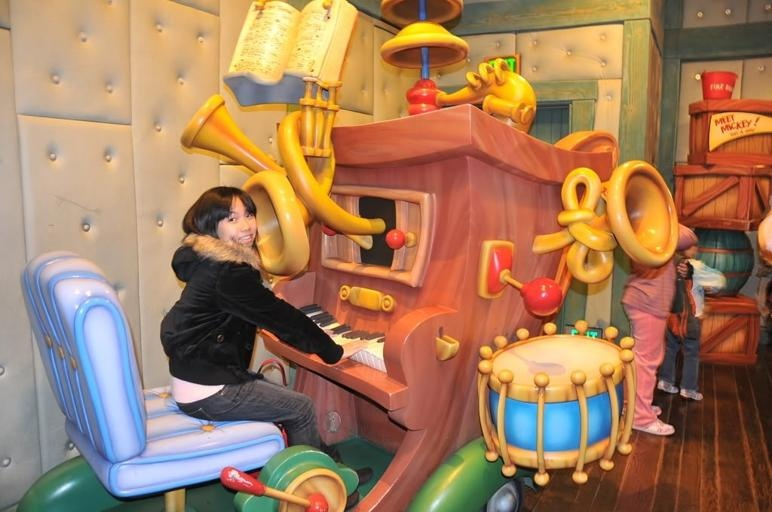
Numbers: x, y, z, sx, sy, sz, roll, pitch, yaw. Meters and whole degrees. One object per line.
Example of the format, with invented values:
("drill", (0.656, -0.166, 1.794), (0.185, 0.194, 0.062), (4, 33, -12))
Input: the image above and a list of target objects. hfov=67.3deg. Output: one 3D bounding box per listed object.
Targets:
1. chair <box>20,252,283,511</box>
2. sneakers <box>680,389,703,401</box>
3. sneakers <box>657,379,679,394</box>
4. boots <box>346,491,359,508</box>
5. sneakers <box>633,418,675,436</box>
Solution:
("chair", (-1.098, 0.480, 2.950), (1.042, 1.477, 1.033), (-7, 11, -32))
("sneakers", (2.277, 1.039, 4.354), (0.147, 0.078, 0.073), (-2, 10, 3))
("sneakers", (2.164, 1.017, 4.486), (0.154, 0.116, 0.067), (-1, 7, 5))
("boots", (-0.157, 1.168, 2.754), (0.046, 0.063, 0.069), (10, 38, -6))
("sneakers", (1.807, 1.156, 3.920), (0.227, 0.107, 0.116), (-2, 11, 11))
